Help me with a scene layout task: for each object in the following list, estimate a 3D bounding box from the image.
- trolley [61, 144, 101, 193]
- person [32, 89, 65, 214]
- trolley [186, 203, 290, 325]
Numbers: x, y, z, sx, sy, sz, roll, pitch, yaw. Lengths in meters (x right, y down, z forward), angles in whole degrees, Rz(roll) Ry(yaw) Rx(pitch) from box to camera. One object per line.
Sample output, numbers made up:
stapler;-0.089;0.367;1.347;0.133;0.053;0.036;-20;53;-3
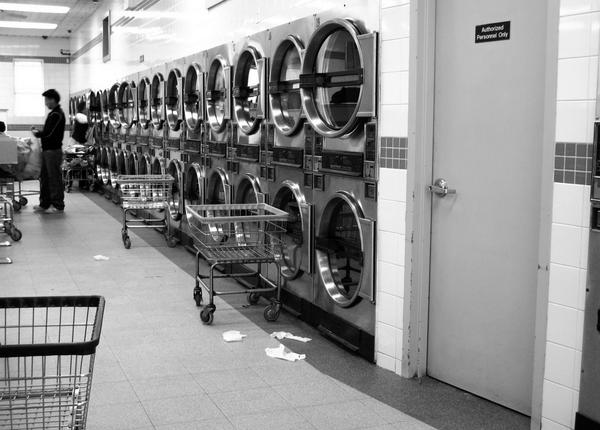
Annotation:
trolley;-5.704;-1.496;11.640;0.784;1.107;1.582;2;38;-26
person;-4.662;-1.198;8.408;0.504;2.318;0.761;-3;8;-31
trolley;-0.558;0.435;4.151;0.785;0.977;0.894;1;4;0
